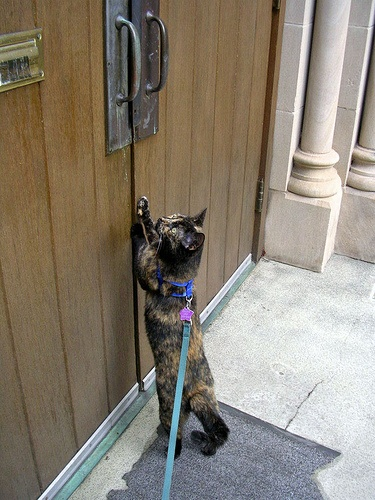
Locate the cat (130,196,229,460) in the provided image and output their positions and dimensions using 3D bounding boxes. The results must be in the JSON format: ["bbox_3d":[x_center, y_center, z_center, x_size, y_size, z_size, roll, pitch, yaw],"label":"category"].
[{"bbox_3d":[-0.028,0.365,1.667,0.316,1.104,0.646,-10,30,-25],"label":"cat"}]
